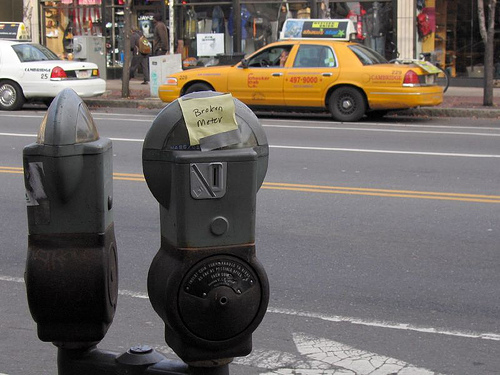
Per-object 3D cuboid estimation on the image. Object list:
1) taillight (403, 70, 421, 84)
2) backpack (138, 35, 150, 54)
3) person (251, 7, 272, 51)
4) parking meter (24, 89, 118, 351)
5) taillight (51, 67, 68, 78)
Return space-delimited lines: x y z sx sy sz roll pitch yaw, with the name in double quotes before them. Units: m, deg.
"taillight" 3.506 -2.362 13.998 0.245 0.326 0.313 2 6 11
"backpack" -3.770 -5.005 22.864 0.533 0.570 0.328 3 13 13
"person" 0.436 -6.006 24.709 1.019 1.589 0.441 20 21 39
"parking meter" -0.887 0.176 3.181 0.428 1.266 0.307 -3 12 -14
"taillight" -4.944 -2.916 16.534 0.359 0.312 0.220 0 17 -7
